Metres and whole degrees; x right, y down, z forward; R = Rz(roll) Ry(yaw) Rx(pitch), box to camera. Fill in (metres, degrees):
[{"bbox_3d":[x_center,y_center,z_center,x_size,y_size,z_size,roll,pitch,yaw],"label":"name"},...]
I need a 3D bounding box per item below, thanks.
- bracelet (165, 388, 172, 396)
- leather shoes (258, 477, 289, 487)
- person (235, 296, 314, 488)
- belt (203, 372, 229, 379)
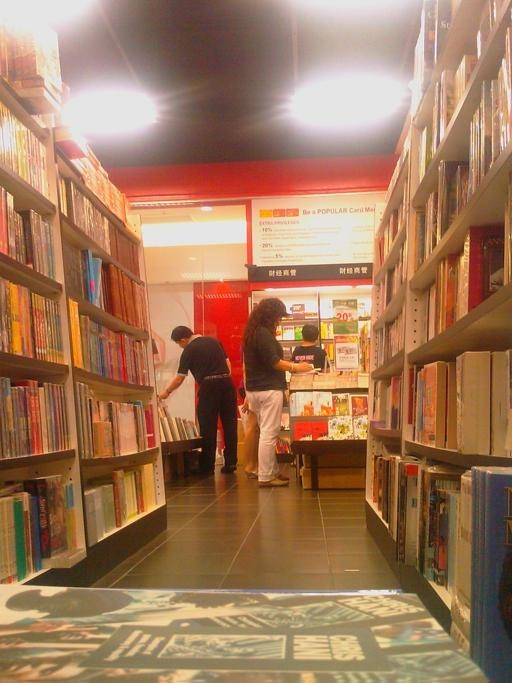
[{"bbox_3d":[-0.980,0.570,5.627,0.050,0.052,0.053,-7,-8,11],"label":"bracelet"},{"bbox_3d":[0.170,1.353,4.822,0.284,0.131,0.109,0,-4,-11],"label":"leather shoes"},{"bbox_3d":[0.134,0.483,5.019,0.540,1.854,0.779,-2,-8,3],"label":"person"},{"bbox_3d":[-0.456,0.426,6.045,0.350,0.103,0.099,4,-9,-32],"label":"belt"}]
